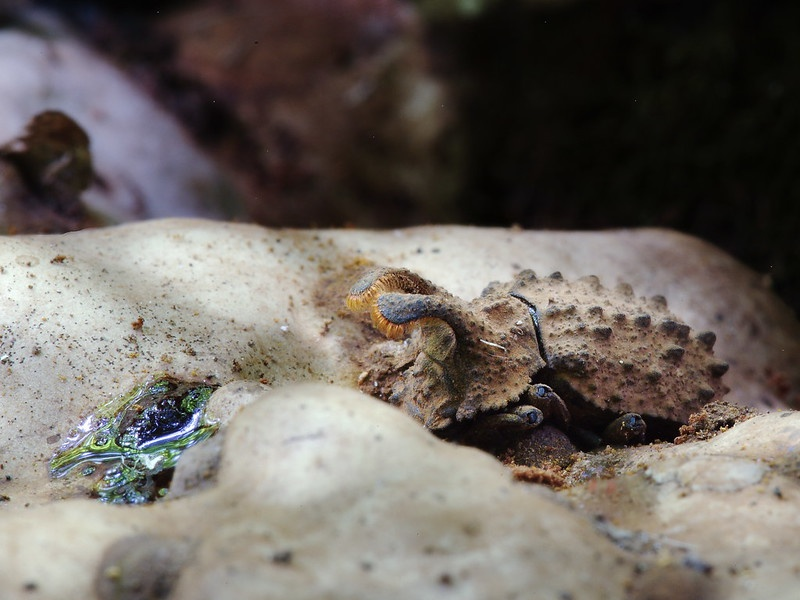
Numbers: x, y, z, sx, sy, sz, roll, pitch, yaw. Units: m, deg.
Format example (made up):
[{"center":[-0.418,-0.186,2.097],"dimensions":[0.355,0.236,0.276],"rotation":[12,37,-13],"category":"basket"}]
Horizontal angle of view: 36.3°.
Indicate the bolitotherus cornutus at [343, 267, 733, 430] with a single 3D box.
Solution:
[{"center":[0.468,0.149,3.669],"dimensions":[0.827,0.284,0.579],"rotation":[3,14,-17],"category":"bolitotherus cornutus"}]
